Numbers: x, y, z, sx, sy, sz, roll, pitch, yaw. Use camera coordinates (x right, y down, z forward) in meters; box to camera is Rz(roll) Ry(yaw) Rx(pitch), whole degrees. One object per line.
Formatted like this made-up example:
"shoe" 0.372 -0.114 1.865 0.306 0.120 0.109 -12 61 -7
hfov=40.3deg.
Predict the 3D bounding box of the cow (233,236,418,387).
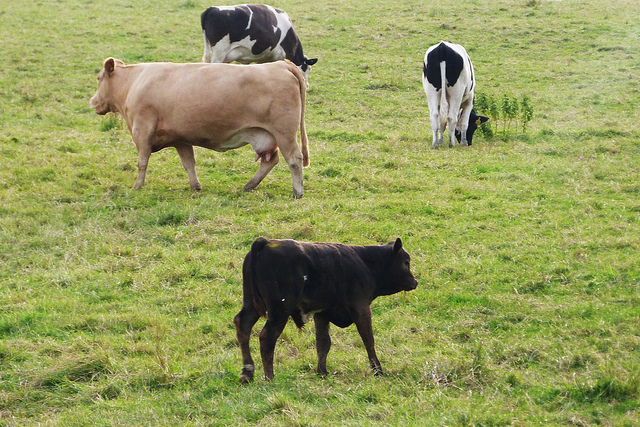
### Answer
"cow" 0.262 1.904 17.113 4.115 2.710 1.191 2 -7 -31

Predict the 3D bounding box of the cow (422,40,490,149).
"cow" 4.392 -3.856 29.224 1.569 3.126 5.564 0 4 15
